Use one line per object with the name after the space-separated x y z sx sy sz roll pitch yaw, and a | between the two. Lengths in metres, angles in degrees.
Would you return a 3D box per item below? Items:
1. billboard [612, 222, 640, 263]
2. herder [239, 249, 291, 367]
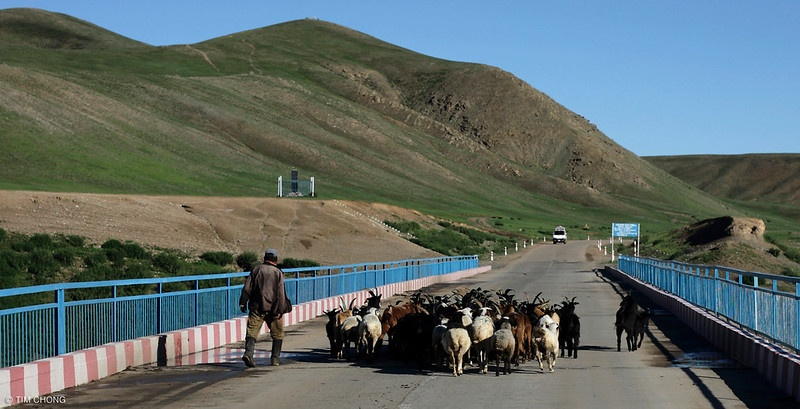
26.798 4.668 97.481 5.254 4.832 0.581 0 6 8 | billboard
-5.344 4.153 32.741 2.255 4.444 2.136 0 -1 -1 | herder
